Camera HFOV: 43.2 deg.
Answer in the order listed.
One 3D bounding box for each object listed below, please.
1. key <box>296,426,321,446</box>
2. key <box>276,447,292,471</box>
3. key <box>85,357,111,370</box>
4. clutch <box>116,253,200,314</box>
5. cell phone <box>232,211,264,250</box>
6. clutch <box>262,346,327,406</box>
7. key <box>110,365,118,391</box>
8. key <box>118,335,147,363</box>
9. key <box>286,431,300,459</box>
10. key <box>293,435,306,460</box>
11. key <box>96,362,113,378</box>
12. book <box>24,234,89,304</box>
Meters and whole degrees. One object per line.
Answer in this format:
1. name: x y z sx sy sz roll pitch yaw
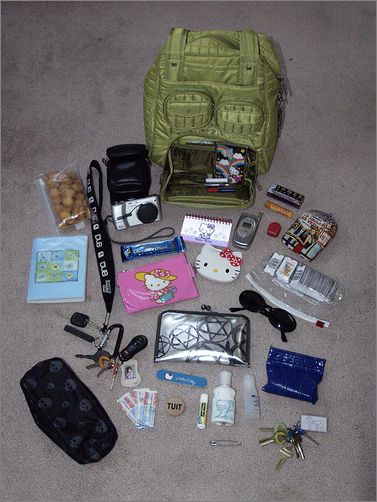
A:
1. key: 0.474 0.737 1.883 0.080 0.024 0.014 42 73 3
2. key: 0.371 0.799 1.843 0.048 0.020 0.096 23 91 13
3. key: -0.378 0.474 1.986 0.091 0.015 0.049 -12 87 3
4. clutch: -0.141 0.151 2.132 0.325 0.079 0.201 -10 57 -13
5. cell phone: 0.265 -0.096 2.217 0.101 0.053 0.183 16 75 15
6. clutch: 0.437 0.516 1.970 0.232 0.057 0.187 15 55 4
7. key: -0.307 0.520 1.987 0.018 0.021 0.123 8 85 -18
8. key: -0.231 0.408 1.972 0.132 0.044 0.074 -43 72 -4
9. key: 0.414 0.757 1.860 0.048 0.017 0.097 -8 85 -6
10. key: 0.434 0.771 1.863 0.031 0.027 0.115 -7 83 1
11. key: -0.350 0.490 1.987 0.054 0.018 0.067 28 88 3
12. book: -0.602 0.082 2.193 0.249 0.076 0.315 0 56 -6
